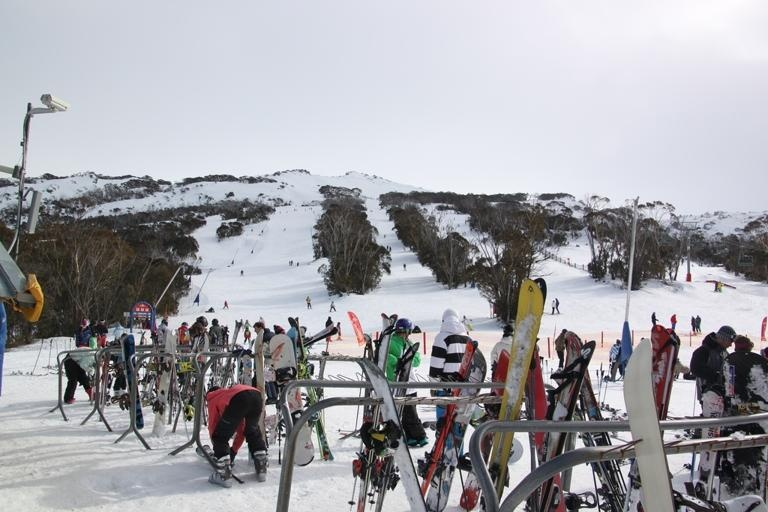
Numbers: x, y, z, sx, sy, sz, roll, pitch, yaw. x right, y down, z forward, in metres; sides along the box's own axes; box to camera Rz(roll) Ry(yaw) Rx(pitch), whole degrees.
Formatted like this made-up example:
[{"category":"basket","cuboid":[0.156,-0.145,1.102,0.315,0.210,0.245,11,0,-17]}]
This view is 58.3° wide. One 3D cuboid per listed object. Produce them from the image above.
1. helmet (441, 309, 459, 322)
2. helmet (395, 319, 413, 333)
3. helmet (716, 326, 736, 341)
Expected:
[{"category":"helmet","cuboid":[1.185,1.100,12.574,0.201,0.258,0.235,1,0,23]},{"category":"helmet","cuboid":[0.357,1.311,12.776,0.252,0.275,0.211,0,0,-5]},{"category":"helmet","cuboid":[5.874,1.330,11.792,0.226,0.253,0.290,19,8,39]}]
